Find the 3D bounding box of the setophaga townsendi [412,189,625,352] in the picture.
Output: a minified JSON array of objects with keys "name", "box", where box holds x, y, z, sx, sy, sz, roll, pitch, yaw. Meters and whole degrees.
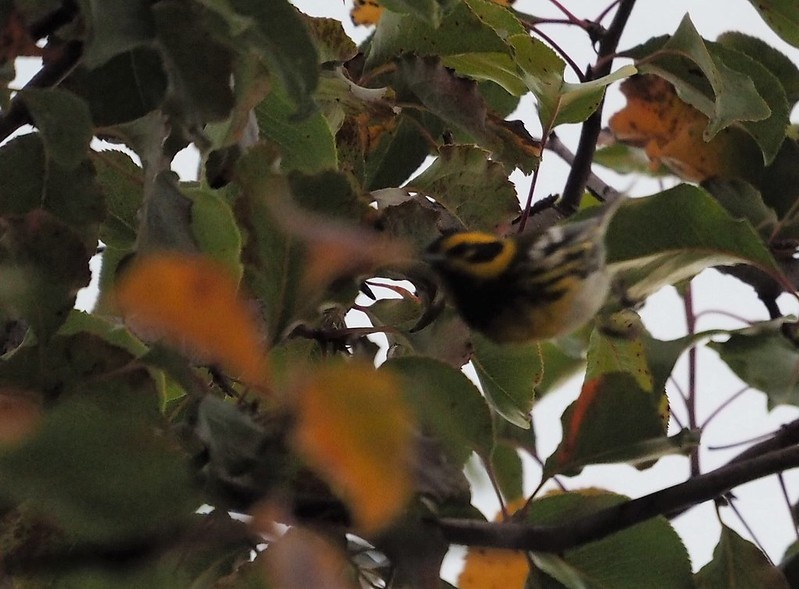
[{"name":"setophaga townsendi","box":[0.066,-0.014,0.806,0.047,0.150,0.060,-15,-85,46]}]
